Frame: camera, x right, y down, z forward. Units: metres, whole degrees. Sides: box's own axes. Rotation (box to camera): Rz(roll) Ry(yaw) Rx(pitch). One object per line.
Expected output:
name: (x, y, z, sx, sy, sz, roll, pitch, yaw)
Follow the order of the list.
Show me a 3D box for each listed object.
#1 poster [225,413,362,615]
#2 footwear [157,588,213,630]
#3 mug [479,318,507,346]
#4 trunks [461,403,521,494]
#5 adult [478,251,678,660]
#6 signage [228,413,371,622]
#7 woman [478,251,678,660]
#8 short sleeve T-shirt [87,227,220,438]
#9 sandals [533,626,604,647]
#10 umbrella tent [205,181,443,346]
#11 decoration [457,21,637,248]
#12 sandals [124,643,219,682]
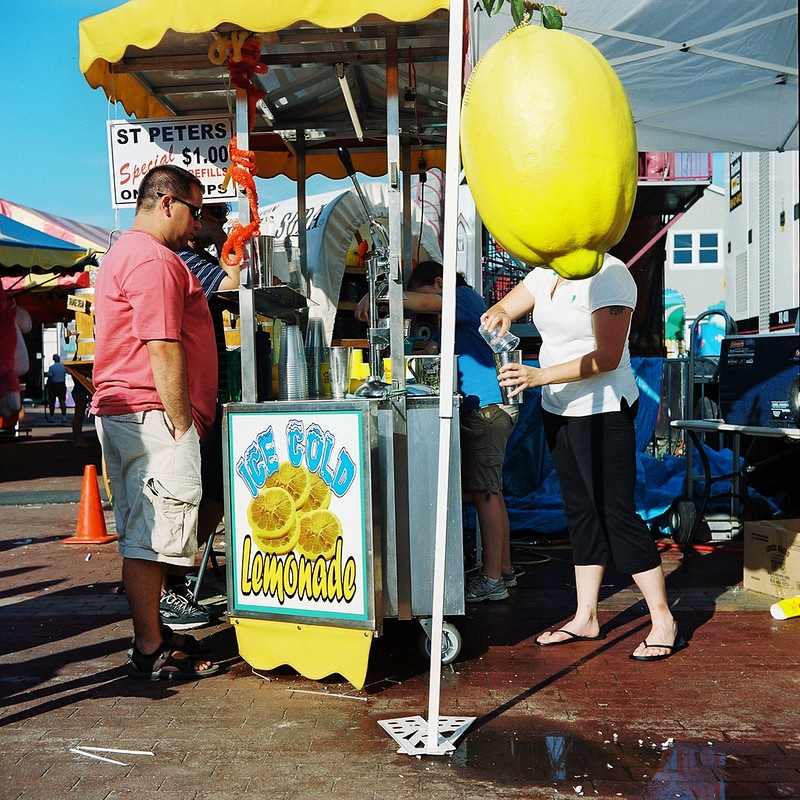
poster: (-0.449, 0.505, 4.048, 0.781, 1.167, 0.126, -1, -2, 18)
footwear: (-1.117, 1.142, 4.921, 0.364, 0.191, 0.135, 2, 4, 0)
mug: (0.395, -0.303, 4.069, 0.102, 0.112, 0.162, 2, 5, -3)
trunks: (0.505, 0.266, 5.461, 0.375, 0.750, 0.551, 0, -1, 1)
adult: (0.894, 0.277, 4.373, 0.882, 1.919, 0.907, 0, 2, 18)
signage: (-0.421, 0.516, 4.037, 0.805, 1.195, 0.123, -1, -2, 15)
woman: (0.894, 0.277, 4.369, 0.876, 1.919, 0.876, 0, 2, 18)
short sleeve T-shirt: (-1.165, -0.363, 4.578, 0.688, 1.361, 1.119, -2, 6, -17)
sandals: (0.853, 1.205, 4.564, 0.311, 0.087, 0.121, 1, -4, -8)
umbrella tent: (-0.469, -1.896, 11.807, 1.965, 2.097, 3.463, -7, 6, -31)
decoration: (0.489, -0.774, 2.891, 0.437, 0.748, 0.530, -3, -10, -20)
sandals: (-1.043, 1.219, 4.157, 0.392, 0.191, 0.168, 0, 3, -6)
